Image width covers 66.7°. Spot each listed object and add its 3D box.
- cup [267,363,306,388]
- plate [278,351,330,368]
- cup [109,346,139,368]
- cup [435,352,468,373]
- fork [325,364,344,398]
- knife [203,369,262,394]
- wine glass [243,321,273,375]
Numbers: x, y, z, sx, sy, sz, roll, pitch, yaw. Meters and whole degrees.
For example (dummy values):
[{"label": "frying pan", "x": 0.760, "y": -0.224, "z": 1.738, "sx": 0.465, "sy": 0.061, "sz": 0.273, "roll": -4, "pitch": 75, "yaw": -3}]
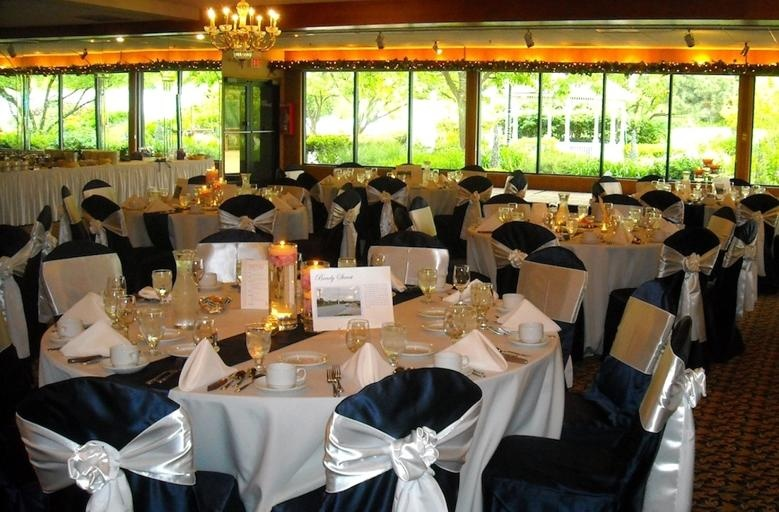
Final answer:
[{"label": "cup", "x": -0.437, "y": 0.503, "z": 2.520, "sx": 0.127, "sy": 0.065, "sz": 0.094, "roll": 4, "pitch": -5, "yaw": -37}, {"label": "plate", "x": -0.404, "y": 0.483, "z": 2.761, "sx": 0.187, "sy": 0.040, "sz": 0.197, "roll": -8, "pitch": 11, "yaw": -37}, {"label": "cup", "x": -1.182, "y": 0.444, "z": 2.623, "sx": 0.093, "sy": 0.080, "sz": 0.101, "roll": 0, "pitch": 18, "yaw": 0}, {"label": "cup", "x": 0.276, "y": 0.465, "z": 2.614, "sx": 0.124, "sy": 0.082, "sz": 0.095, "roll": 1, "pitch": 2, "yaw": -18}, {"label": "fork", "x": -0.236, "y": 0.536, "z": 2.539, "sx": 0.040, "sy": 0.024, "sz": 0.164, "roll": 1, "pitch": 33, "yaw": -7}, {"label": "knife", "x": -0.664, "y": 0.537, "z": 2.590, "sx": 0.074, "sy": 0.033, "sz": 0.271, "roll": 13, "pitch": 3, "yaw": 5}, {"label": "wine glass", "x": -0.597, "y": 0.400, "z": 2.689, "sx": 0.100, "sy": 0.215, "sz": 0.247, "roll": -4, "pitch": 9, "yaw": -13}]
